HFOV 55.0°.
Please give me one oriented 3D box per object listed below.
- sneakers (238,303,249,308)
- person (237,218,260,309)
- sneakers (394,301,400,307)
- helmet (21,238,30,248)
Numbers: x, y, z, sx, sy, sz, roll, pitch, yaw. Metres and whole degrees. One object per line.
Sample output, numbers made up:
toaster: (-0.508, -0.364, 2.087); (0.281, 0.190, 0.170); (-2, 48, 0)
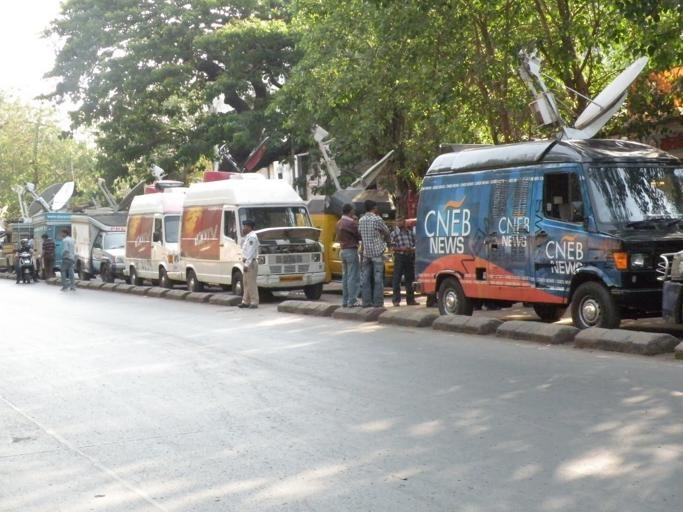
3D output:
sneakers: (-2.751, 1.392, 18.274); (0.318, 0.154, 0.114); (8, 0, 18)
person: (-2.624, 0.251, 18.279); (0.548, 2.395, 1.390); (-2, 2, -9)
sneakers: (1.420, 1.280, 17.069); (0.087, 0.117, 0.111); (3, -4, -42)
helmet: (-16.361, -0.444, 33.856); (0.409, 0.568, 0.557); (-4, -23, -25)
